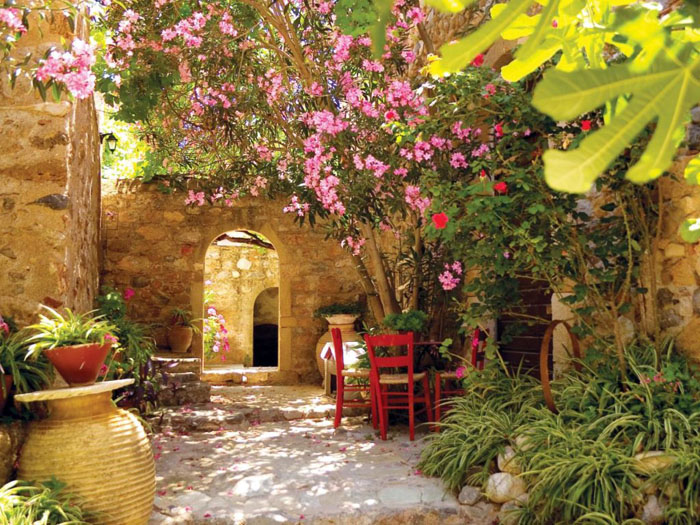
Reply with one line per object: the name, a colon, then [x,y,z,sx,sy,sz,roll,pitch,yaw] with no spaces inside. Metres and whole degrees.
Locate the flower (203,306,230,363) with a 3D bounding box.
flower: [-2.756,1.447,10.493,0.500,1.204,1.152,-1,-4,-13]

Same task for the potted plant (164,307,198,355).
potted plant: [-2.529,1.003,7.572,0.402,0.680,0.343,-1,-4,-17]

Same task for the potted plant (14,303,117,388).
potted plant: [-1.706,0.489,2.995,0.766,0.446,0.729,4,-8,-33]

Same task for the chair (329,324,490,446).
chair: [0.501,1.166,5.110,1.108,1.051,1.455,0,-5,-24]

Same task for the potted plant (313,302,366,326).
potted plant: [-0.175,0.798,8.121,0.800,0.365,0.737,-2,-5,7]

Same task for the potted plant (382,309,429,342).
potted plant: [0.584,0.641,5.233,0.472,0.317,0.356,-2,-4,2]
